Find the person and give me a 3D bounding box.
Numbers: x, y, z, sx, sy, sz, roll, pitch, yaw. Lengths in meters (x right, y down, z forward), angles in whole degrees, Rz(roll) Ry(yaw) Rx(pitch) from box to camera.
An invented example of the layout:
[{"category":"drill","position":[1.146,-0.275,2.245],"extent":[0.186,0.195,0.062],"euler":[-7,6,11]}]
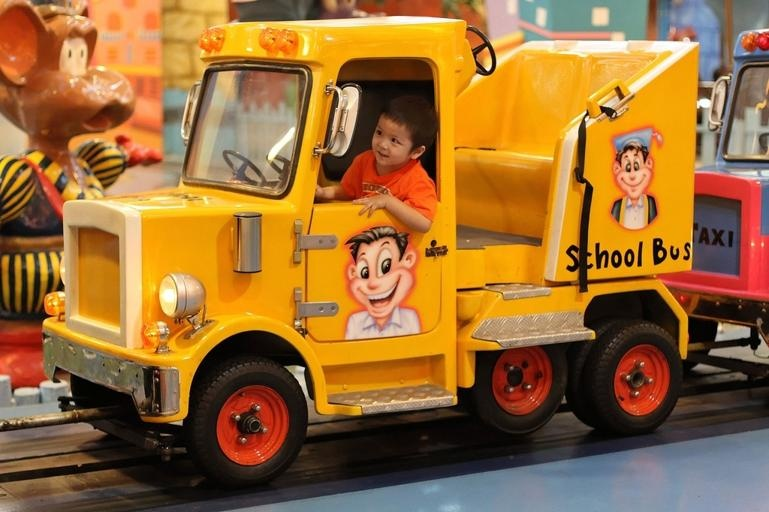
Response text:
[{"category":"person","position":[-0.019,-0.650,6.007],"extent":[0.700,0.918,0.613],"euler":[-2,10,-15]}]
